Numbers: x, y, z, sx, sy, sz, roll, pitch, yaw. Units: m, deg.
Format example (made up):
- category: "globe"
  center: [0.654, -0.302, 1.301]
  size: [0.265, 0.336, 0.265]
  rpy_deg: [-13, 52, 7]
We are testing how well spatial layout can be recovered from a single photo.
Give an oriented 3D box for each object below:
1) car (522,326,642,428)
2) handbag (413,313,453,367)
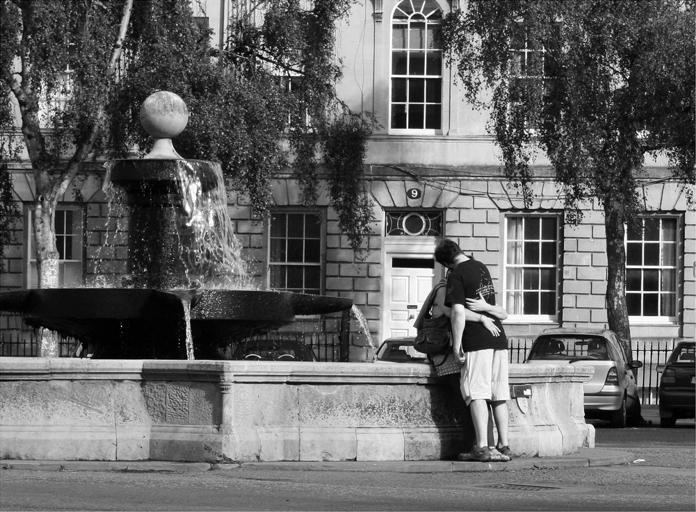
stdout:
- category: "car"
  center: [5.200, 2.625, 45.324]
  size: [2.633, 2.048, 1.527]
  rpy_deg: [5, 7, -19]
- category: "handbag"
  center: [1.449, 1.458, 36.253]
  size: [0.518, 0.850, 0.546]
  rpy_deg: [0, -1, -15]
